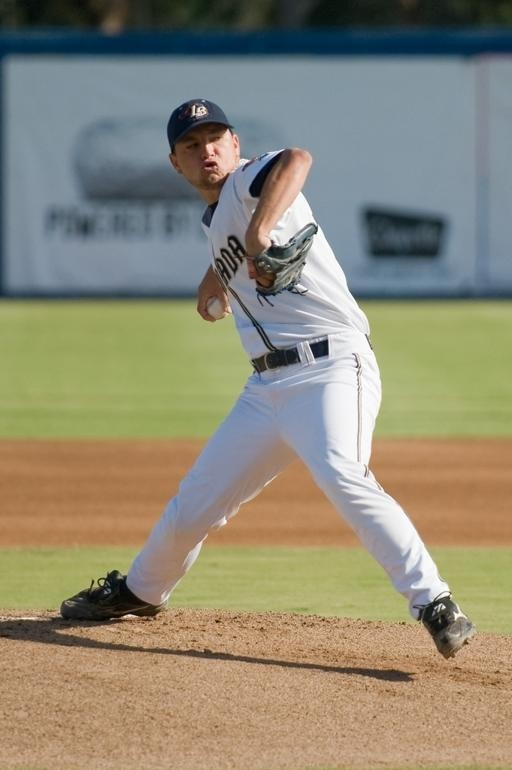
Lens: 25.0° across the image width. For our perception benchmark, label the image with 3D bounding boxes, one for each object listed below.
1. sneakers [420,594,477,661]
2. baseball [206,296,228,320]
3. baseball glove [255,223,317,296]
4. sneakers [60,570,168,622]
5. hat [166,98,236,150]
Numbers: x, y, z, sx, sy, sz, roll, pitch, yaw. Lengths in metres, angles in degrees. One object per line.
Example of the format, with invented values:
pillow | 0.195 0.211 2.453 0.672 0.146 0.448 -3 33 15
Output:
sneakers | 0.505 0.626 3.010 0.096 0.138 0.144 -18 -11 -19
baseball | -0.105 -0.249 3.667 0.069 0.060 0.052 16 -21 45
baseball glove | 0.091 -0.329 2.894 0.099 0.184 0.130 23 -9 14
sneakers | -0.447 0.651 3.570 0.365 0.151 0.132 1 4 0
hat | -0.161 -0.740 3.198 0.187 0.114 0.229 -14 3 12
